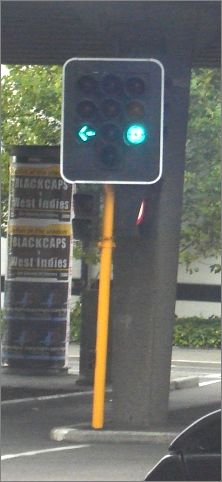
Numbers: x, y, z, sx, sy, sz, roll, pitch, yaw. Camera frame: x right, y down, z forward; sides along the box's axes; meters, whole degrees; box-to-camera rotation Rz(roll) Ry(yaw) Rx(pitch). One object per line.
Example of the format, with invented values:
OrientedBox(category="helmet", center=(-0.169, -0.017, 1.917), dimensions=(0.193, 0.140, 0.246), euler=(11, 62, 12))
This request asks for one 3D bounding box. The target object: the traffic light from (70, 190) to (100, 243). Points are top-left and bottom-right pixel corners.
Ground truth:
OrientedBox(category="traffic light", center=(-0.251, -0.265, 9.111), dimensions=(0.281, 0.503, 0.325), euler=(4, 0, -3))

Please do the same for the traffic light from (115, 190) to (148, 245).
OrientedBox(category="traffic light", center=(0.221, -0.302, 9.758), dimensions=(0.327, 0.707, 0.068), euler=(2, 34, 2))

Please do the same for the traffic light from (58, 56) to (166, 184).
OrientedBox(category="traffic light", center=(0.063, -1.098, 8.483), dimensions=(0.865, 1.220, 1.126), euler=(-1, 4, 3))
